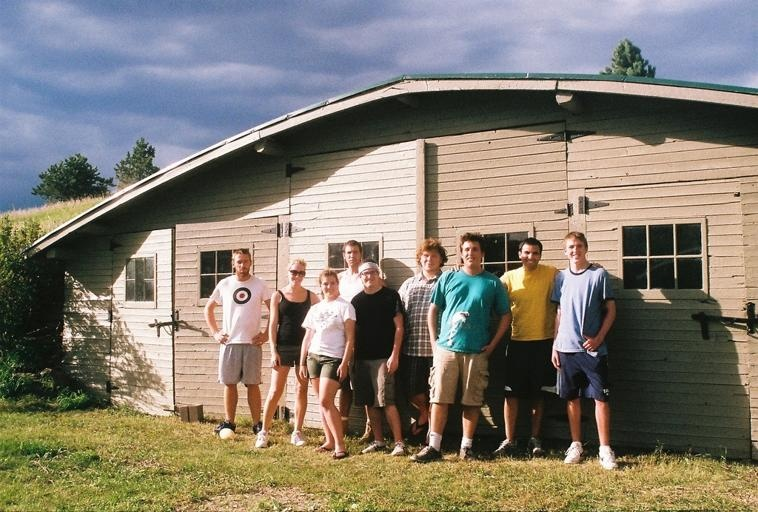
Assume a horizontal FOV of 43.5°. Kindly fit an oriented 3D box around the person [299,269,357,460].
[{"bbox_3d":[-0.665,1.414,12.585,0.736,2.446,0.435,-2,-8,38],"label":"person"}]

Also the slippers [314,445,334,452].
[{"bbox_3d":[-0.726,2.562,12.635,0.231,0.082,0.078,7,-11,-9],"label":"slippers"}]

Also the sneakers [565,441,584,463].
[{"bbox_3d":[2.461,2.485,12.037,0.229,0.266,0.272,1,-6,11],"label":"sneakers"}]

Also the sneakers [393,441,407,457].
[{"bbox_3d":[0.290,2.514,12.405,0.174,0.175,0.303,-1,-7,32],"label":"sneakers"}]

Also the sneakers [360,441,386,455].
[{"bbox_3d":[-0.068,2.541,12.567,0.371,0.141,0.129,2,-5,-10],"label":"sneakers"}]

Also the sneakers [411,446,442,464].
[{"bbox_3d":[0.615,2.546,12.064,0.436,0.152,0.155,2,-8,-25],"label":"sneakers"}]

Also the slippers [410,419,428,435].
[{"bbox_3d":[0.544,2.347,12.879,0.160,0.157,0.261,0,-8,24],"label":"slippers"}]

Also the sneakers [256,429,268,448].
[{"bbox_3d":[-1.584,2.475,12.873,0.170,0.224,0.294,3,-6,-7],"label":"sneakers"}]

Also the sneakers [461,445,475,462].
[{"bbox_3d":[1.115,2.520,12.165,0.119,0.133,0.222,2,-3,-41],"label":"sneakers"}]

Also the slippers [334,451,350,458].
[{"bbox_3d":[-0.494,2.573,12.322,0.202,0.110,0.150,2,-6,-3],"label":"slippers"}]

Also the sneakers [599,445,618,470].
[{"bbox_3d":[2.856,2.502,11.832,0.219,0.285,0.240,1,-6,12],"label":"sneakers"}]

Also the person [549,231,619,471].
[{"bbox_3d":[2.606,1.178,12.062,0.843,2.943,0.278,1,-7,10],"label":"person"}]

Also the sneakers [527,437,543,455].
[{"bbox_3d":[2.033,2.462,12.318,0.187,0.243,0.251,2,-6,6],"label":"sneakers"}]

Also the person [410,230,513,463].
[{"bbox_3d":[1.084,1.182,12.313,1.120,2.920,0.517,2,-7,5],"label":"person"}]

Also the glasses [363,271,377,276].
[{"bbox_3d":[-0.121,0.232,12.551,0.187,0.056,0.064,2,-6,-2],"label":"glasses"}]
